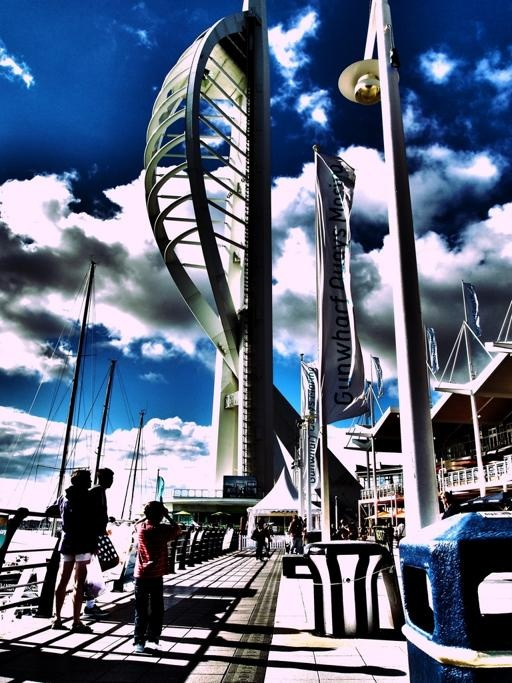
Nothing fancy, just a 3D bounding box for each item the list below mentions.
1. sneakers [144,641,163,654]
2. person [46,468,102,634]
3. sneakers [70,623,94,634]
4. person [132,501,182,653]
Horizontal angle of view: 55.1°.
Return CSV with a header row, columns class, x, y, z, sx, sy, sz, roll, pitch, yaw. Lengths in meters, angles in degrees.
class,x,y,z,sx,sy,sz,roll,pitch,yaw
sneakers,-1.034,3.070,4.953,0.186,0.085,0.316,6,-21,-8
person,-2.118,2.416,5.813,0.526,1.761,0.369,8,-19,-15
sneakers,-1.978,3.239,5.552,0.214,0.156,0.112,1,-33,8
person,-1.124,2.526,5.452,0.467,1.455,0.813,7,-20,-12
